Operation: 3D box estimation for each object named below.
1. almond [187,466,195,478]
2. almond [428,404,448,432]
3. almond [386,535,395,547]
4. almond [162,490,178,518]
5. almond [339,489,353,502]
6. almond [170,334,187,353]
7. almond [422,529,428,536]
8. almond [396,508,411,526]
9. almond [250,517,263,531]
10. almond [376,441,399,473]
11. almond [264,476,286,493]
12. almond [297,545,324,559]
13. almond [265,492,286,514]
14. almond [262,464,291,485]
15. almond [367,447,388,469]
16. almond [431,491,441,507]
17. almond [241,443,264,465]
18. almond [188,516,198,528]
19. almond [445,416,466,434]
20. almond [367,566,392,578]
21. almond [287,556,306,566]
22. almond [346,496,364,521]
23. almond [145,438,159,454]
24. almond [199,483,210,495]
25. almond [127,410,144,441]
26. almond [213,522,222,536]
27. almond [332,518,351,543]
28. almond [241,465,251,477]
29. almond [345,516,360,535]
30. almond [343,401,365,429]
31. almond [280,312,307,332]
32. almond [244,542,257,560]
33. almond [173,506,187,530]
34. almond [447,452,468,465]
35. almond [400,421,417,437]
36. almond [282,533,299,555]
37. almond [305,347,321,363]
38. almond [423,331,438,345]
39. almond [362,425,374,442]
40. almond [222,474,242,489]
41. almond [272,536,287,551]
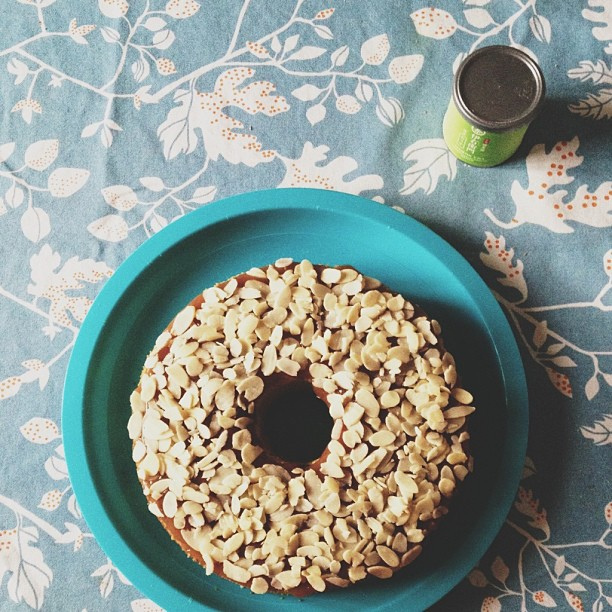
[{"bbox_3d":[-0.194,0.278,1.351,0.017,0.004,0.016,-31,81,33],"label":"almond"},{"bbox_3d":[0.222,0.186,1.332,0.035,0.012,0.039,-1,92,-21],"label":"almond"},{"bbox_3d":[0.139,0.385,1.325,0.014,0.017,0.013,2,58,4],"label":"almond"},{"bbox_3d":[-0.230,0.333,1.353,0.032,0.008,0.040,-5,86,18],"label":"almond"},{"bbox_3d":[0.067,0.313,1.331,0.015,0.005,0.022,-35,77,10],"label":"almond"},{"bbox_3d":[-0.221,0.063,1.385,0.023,0.009,0.034,28,91,31],"label":"almond"},{"bbox_3d":[0.200,0.376,1.337,0.010,0.011,0.010,-5,81,2],"label":"almond"},{"bbox_3d":[0.162,0.349,1.325,0.017,0.022,0.036,40,84,8],"label":"almond"},{"bbox_3d":[-0.082,0.361,1.335,0.020,0.008,0.021,-1,81,2],"label":"almond"},{"bbox_3d":[0.136,0.249,1.332,0.026,0.011,0.053,25,81,2],"label":"almond"},{"bbox_3d":[-0.053,0.300,1.344,0.026,0.006,0.027,39,84,7],"label":"almond"},{"bbox_3d":[0.009,0.406,1.327,0.052,0.014,0.022,0,92,2],"label":"almond"},{"bbox_3d":[-0.050,0.327,1.336,0.023,0.009,0.038,39,92,-11],"label":"almond"},{"bbox_3d":[-0.047,0.280,1.356,0.037,0.008,0.032,7,41,-25],"label":"almond"},{"bbox_3d":[0.117,0.251,1.329,0.021,0.007,0.043,35,83,7],"label":"almond"},{"bbox_3d":[0.218,0.320,1.335,0.021,0.007,0.021,-2,100,-23],"label":"almond"},{"bbox_3d":[-0.093,0.249,1.354,0.032,0.011,0.033,-4,87,-12],"label":"almond"},{"bbox_3d":[-0.190,0.362,1.350,0.014,0.003,0.016,-6,108,43],"label":"almond"},{"bbox_3d":[0.254,0.199,1.354,0.023,0.010,0.033,34,87,2],"label":"almond"},{"bbox_3d":[0.123,0.442,1.336,0.040,0.026,0.022,-2,81,2],"label":"almond"},{"bbox_3d":[-0.015,0.421,1.328,0.029,0.008,0.016,-1,81,2],"label":"almond"},{"bbox_3d":[0.082,0.333,1.321,0.029,0.010,0.036,35,100,20],"label":"almond"},{"bbox_3d":[-0.262,0.239,1.367,0.019,0.004,0.021,-4,89,13],"label":"almond"},{"bbox_3d":[-0.171,0.307,1.346,0.018,0.004,0.019,-4,81,1],"label":"almond"},{"bbox_3d":[-0.302,0.208,1.394,0.040,0.012,0.043,8,93,36],"label":"almond"},{"bbox_3d":[-0.149,0.373,1.346,0.022,0.005,0.018,0,87,26],"label":"almond"},{"bbox_3d":[0.058,0.368,1.323,0.033,0.009,0.033,-3,93,30],"label":"almond"},{"bbox_3d":[-0.101,0.276,1.350,0.014,0.006,0.017,0,81,2],"label":"almond"},{"bbox_3d":[0.077,0.359,1.327,0.029,0.008,0.025,1,108,35],"label":"almond"},{"bbox_3d":[0.081,0.178,1.340,0.043,0.010,0.039,19,87,22],"label":"almond"},{"bbox_3d":[-0.021,0.028,1.371,0.042,0.011,0.034,-3,90,6],"label":"almond"},{"bbox_3d":[-0.094,0.406,1.337,0.025,0.003,0.026,-41,111,-27],"label":"almond"},{"bbox_3d":[-0.213,0.355,1.348,0.026,0.015,0.031,-3,91,-3],"label":"almond"},{"bbox_3d":[0.254,0.255,1.347,0.033,0.009,0.020,-10,81,0],"label":"almond"},{"bbox_3d":[0.172,0.204,1.337,0.021,0.004,0.023,-23,86,-21],"label":"almond"},{"bbox_3d":[-0.023,0.396,1.328,0.007,0.037,0.030,34,108,42],"label":"almond"},{"bbox_3d":[0.012,0.082,1.360,0.025,0.006,0.021,-16,74,-16],"label":"almond"},{"bbox_3d":[0.213,0.054,1.365,0.016,0.006,0.024,-40,74,3],"label":"almond"},{"bbox_3d":[0.103,0.212,1.337,0.028,0.006,0.026,-4,84,1],"label":"almond"},{"bbox_3d":[-0.122,0.293,1.344,0.030,0.005,0.023,-36,82,-4],"label":"almond"},{"bbox_3d":[-0.043,0.390,1.327,0.027,0.007,0.022,2,86,12],"label":"almond"}]
